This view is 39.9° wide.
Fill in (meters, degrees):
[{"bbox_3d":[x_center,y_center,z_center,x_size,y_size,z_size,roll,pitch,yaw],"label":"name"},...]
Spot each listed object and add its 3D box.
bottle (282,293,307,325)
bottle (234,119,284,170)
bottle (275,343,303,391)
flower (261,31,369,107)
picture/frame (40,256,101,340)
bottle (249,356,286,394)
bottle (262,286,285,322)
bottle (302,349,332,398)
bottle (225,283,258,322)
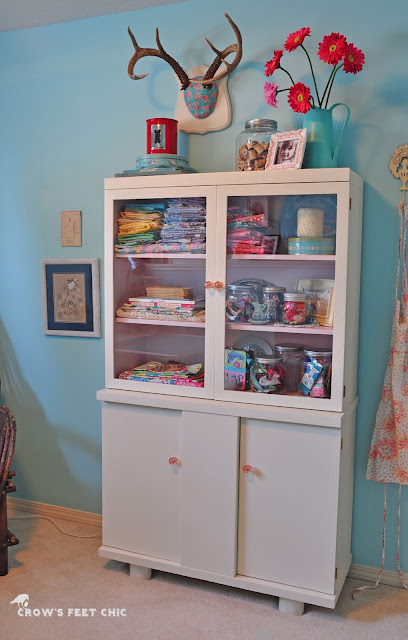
[{"bbox_3d":[0.322,-0.041,2.090,0.102,0.154,0.108,0,2,0],"label":"bottle"},{"bbox_3d":[0.208,-0.654,2.177,0.177,0.213,0.225,2,1,7],"label":"bottle"},{"bbox_3d":[0.307,0.175,2.045,0.106,0.174,0.023,3,5,34],"label":"bottle"},{"bbox_3d":[0.412,-0.900,2.046,0.276,0.330,0.328,9,-1,9],"label":"flower"},{"bbox_3d":[-0.659,-0.119,2.817,0.423,0.462,0.021,3,7,27],"label":"picture/frame"},{"bbox_3d":[0.230,0.200,2.072,0.132,0.120,0.130,-1,-5,14],"label":"bottle"},{"bbox_3d":[0.252,-0.057,2.050,0.076,0.134,0.018,3,5,36],"label":"bottle"},{"bbox_3d":[0.394,0.190,1.988,0.112,0.164,0.016,3,5,34],"label":"bottle"},{"bbox_3d":[0.134,-0.066,2.093,0.107,0.138,0.140,2,-2,-32],"label":"bottle"}]
